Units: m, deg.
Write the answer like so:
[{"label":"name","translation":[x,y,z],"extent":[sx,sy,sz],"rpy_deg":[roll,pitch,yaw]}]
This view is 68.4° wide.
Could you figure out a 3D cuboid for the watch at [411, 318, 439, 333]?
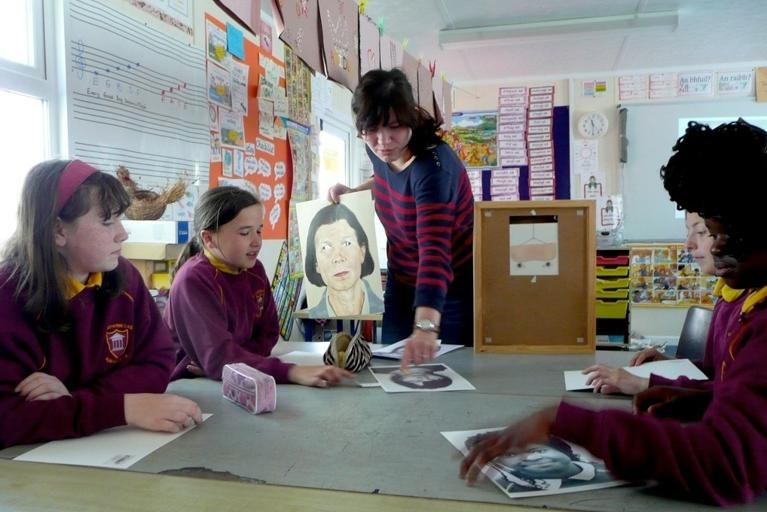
[{"label":"watch","translation":[0.138,0.222,1.773],"extent":[0.076,0.041,0.043],"rpy_deg":[1,2,0]}]

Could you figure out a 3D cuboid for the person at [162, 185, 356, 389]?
[{"label":"person","translation":[-0.448,0.102,1.901],"extent":[0.467,0.581,0.813],"rpy_deg":[-4,6,-41]}]

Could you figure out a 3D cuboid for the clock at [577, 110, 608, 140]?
[{"label":"clock","translation":[1.954,-1.223,5.249],"extent":[0.312,0.285,0.089],"rpy_deg":[-1,-1,7]}]

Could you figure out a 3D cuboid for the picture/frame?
[{"label":"picture/frame","translation":[0.539,0.086,1.973],"extent":[0.584,0.676,0.057],"rpy_deg":[0,-4,6]}]
